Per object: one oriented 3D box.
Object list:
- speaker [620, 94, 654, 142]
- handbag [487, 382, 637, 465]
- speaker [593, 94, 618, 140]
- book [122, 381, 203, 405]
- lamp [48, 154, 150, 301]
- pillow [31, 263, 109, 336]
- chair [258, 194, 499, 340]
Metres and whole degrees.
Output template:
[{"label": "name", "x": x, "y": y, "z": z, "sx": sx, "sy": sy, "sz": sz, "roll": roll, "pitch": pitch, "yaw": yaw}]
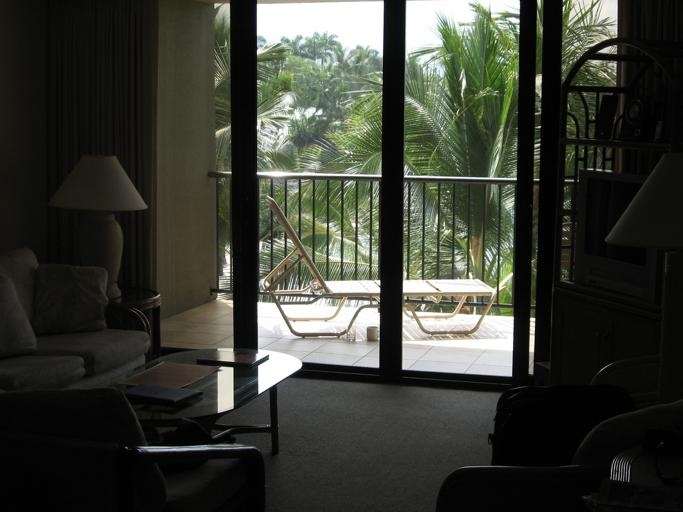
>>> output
[{"label": "speaker", "x": 1.598, "y": -0.739, "z": 3.077, "sx": 0.169, "sy": 0.234, "sz": 0.094, "roll": 7, "pitch": 10, "yaw": 30}, {"label": "handbag", "x": 0.692, "y": 0.526, "z": 1.811, "sx": 0.343, "sy": 0.279, "sz": 0.119, "roll": -3, "pitch": 10, "yaw": 2}, {"label": "speaker", "x": 1.487, "y": -0.790, "z": 3.215, "sx": 0.108, "sy": 0.273, "sz": 0.035, "roll": 5, "pitch": -1, "yaw": 17}, {"label": "book", "x": -0.734, "y": 0.559, "z": 2.305, "sx": 0.165, "sy": 0.046, "sz": 0.125, "roll": 4, "pitch": 6, "yaw": 9}, {"label": "lamp", "x": -1.614, "y": -0.210, "z": 3.840, "sx": 0.614, "sy": 0.927, "sz": 0.581, "roll": -1, "pitch": 4, "yaw": -33}, {"label": "pillow", "x": -1.584, "y": 0.260, "z": 3.307, "sx": 0.339, "sy": 0.395, "sz": 0.146, "roll": 2, "pitch": -27, "yaw": -17}, {"label": "chair", "x": 0.249, "y": 0.067, "z": 5.179, "sx": 2.447, "sy": 1.641, "sz": 0.988, "roll": -1, "pitch": 7, "yaw": 2}]
